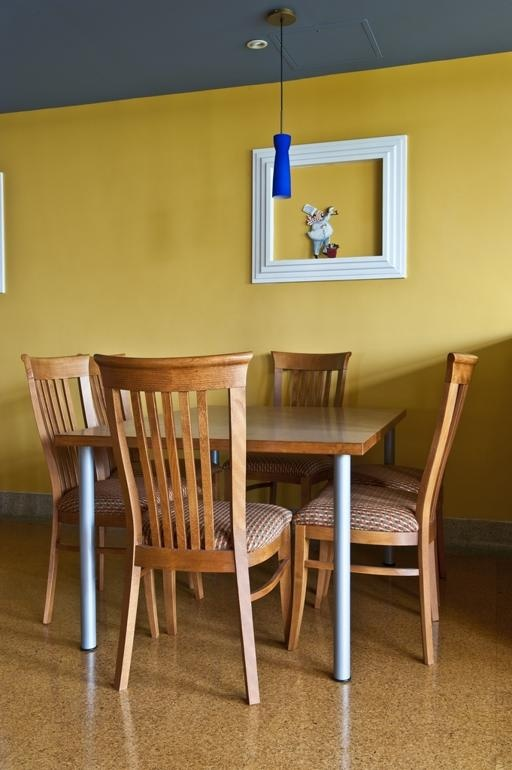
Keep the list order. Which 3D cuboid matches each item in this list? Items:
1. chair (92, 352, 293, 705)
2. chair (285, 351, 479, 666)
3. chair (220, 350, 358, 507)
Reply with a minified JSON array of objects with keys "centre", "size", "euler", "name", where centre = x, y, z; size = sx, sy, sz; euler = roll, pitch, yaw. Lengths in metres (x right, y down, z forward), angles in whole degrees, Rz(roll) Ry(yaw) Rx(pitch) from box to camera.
[{"centre":[-0.139,0.347,1.732],"size":[0.496,0.840,0.517],"euler":[-1,2,-10],"name":"chair"},{"centre":[0.365,0.342,1.990],"size":[0.530,0.848,0.608],"euler":[0,0,4],"name":"chair"},{"centre":[0.185,0.237,2.928],"size":[0.555,0.814,0.553],"euler":[3,-2,-4],"name":"chair"}]
